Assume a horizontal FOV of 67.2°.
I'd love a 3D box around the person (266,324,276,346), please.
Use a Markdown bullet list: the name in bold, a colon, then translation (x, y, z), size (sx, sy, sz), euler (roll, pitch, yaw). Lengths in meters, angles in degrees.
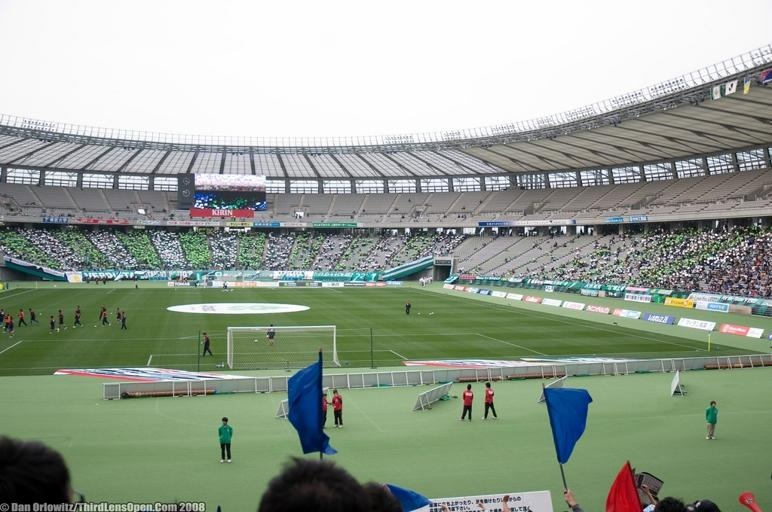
- **person**: translation (-7.766, 5.315, 38.641), size (0.557, 1.182, 1.210), euler (1, -28, -10)
